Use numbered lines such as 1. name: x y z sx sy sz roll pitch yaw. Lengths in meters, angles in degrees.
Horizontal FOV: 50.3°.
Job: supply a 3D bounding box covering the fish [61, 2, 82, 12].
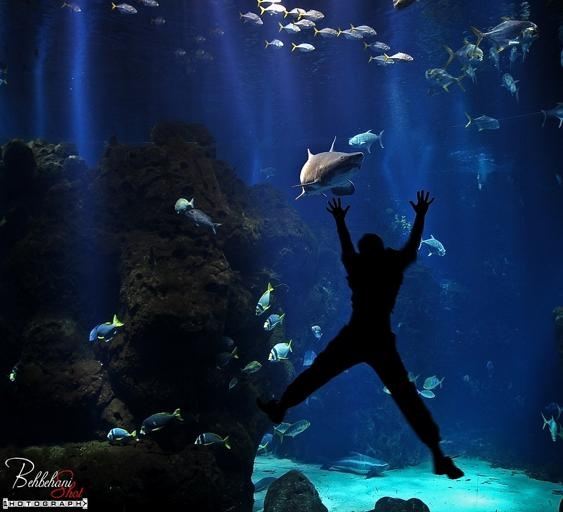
1. fish: -7.545 -8.930 21.537 0.623 0.206 0.224 9 32 -12
